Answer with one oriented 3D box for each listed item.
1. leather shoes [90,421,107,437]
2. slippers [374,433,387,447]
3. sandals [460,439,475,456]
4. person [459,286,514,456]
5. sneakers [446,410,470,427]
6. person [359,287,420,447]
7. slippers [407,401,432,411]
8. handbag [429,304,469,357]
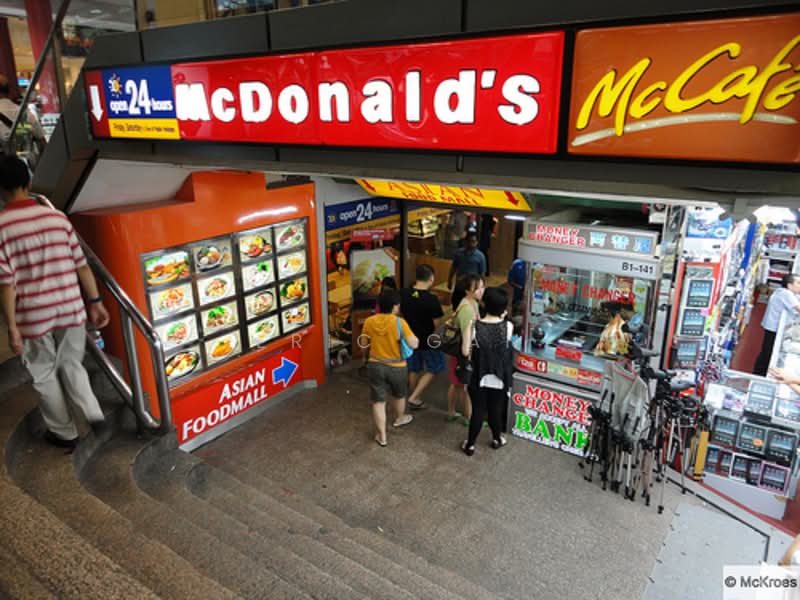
[{"bbox_3d":[-2.325,0.997,4.174,0.129,0.096,0.130,3,12,-6],"label":"leather shoes"},{"bbox_3d":[-0.216,1.571,5.952,0.075,0.100,0.162,-4,27,-13],"label":"slippers"},{"bbox_3d":[0.735,1.608,5.851,0.092,0.071,0.177,-1,18,-7],"label":"sandals"},{"bbox_3d":[0.935,0.762,5.658,0.584,1.839,0.483,4,16,4],"label":"person"},{"bbox_3d":[0.703,1.419,6.384,0.239,0.096,0.123,-2,14,-14],"label":"sneakers"},{"bbox_3d":[-0.111,0.707,5.854,0.599,1.677,0.559,-3,15,-12],"label":"person"},{"bbox_3d":[0.206,1.324,6.707,0.245,0.067,0.096,1,11,2],"label":"slippers"},{"bbox_3d":[0.528,0.326,5.803,0.428,0.609,0.183,21,2,-29],"label":"handbag"}]
